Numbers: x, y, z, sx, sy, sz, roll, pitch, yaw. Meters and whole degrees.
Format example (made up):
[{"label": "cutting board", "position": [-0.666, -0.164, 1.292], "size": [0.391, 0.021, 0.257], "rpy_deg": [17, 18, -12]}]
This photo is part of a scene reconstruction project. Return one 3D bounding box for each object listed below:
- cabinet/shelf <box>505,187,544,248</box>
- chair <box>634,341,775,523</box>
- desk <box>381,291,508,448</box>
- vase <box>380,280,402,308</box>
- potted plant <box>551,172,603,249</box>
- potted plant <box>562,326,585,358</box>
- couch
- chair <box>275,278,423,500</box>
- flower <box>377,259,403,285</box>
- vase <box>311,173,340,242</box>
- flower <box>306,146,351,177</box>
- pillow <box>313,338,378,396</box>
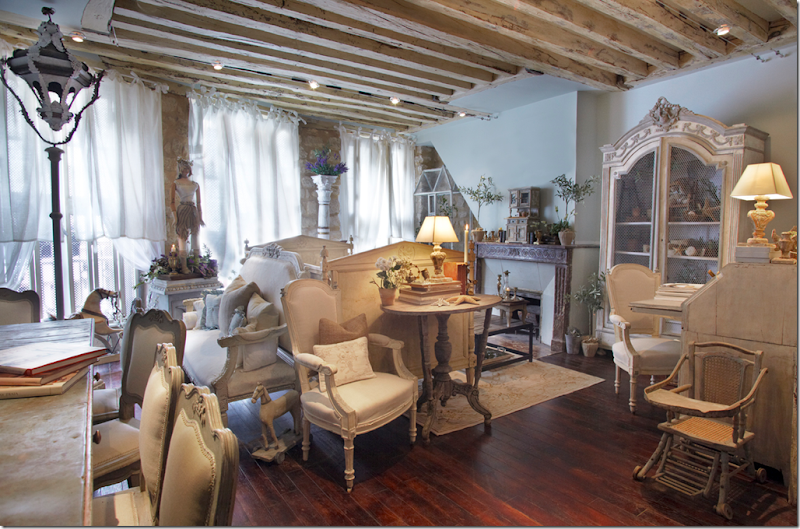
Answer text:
[{"label": "cabinet/shelf", "position": [1.669, -0.646, 7.008], "size": [0.515, 0.742, 0.350], "rpy_deg": [-2, 4, 20]}, {"label": "chair", "position": [2.552, 1.221, 4.313], "size": [1.252, 1.512, 1.053], "rpy_deg": [-2, 0, -37]}, {"label": "desk", "position": [0.373, 0.907, 5.100], "size": [1.585, 1.371, 1.120], "rpy_deg": [-2, 5, -25]}, {"label": "vase", "position": [-0.089, 0.266, 4.608], "size": [0.210, 0.181, 0.200], "rpy_deg": [2, -1, 3]}, {"label": "potted plant", "position": [2.187, -0.707, 6.674], "size": [0.573, 0.930, 0.482], "rpy_deg": [3, 12, 7]}, {"label": "potted plant", "position": [2.179, 0.981, 6.534], "size": [0.282, 0.375, 0.290], "rpy_deg": [-5, 5, -43]}, {"label": "couch", "position": [-1.724, 0.590, 5.399], "size": [1.178, 1.386, 2.372], "rpy_deg": [-10, 10, -26]}, {"label": "chair", "position": [-0.402, 0.928, 4.486], "size": [1.097, 1.428, 1.070], "rpy_deg": [-5, 14, -30]}, {"label": "flower", "position": [-0.092, 0.083, 4.654], "size": [0.228, 0.228, 0.214], "rpy_deg": [3, -10, -27]}, {"label": "vase", "position": [-1.078, -0.827, 7.694], "size": [0.331, 0.921, 0.779], "rpy_deg": [-4, 3, -8]}, {"label": "flower", "position": [-1.074, -1.424, 7.629], "size": [0.562, 0.441, 0.630], "rpy_deg": [0, 5, 6]}, {"label": "pillow", "position": [-0.409, 0.846, 4.458], "size": [0.496, 0.353, 0.177], "rpy_deg": [-15, 3, 22]}]
